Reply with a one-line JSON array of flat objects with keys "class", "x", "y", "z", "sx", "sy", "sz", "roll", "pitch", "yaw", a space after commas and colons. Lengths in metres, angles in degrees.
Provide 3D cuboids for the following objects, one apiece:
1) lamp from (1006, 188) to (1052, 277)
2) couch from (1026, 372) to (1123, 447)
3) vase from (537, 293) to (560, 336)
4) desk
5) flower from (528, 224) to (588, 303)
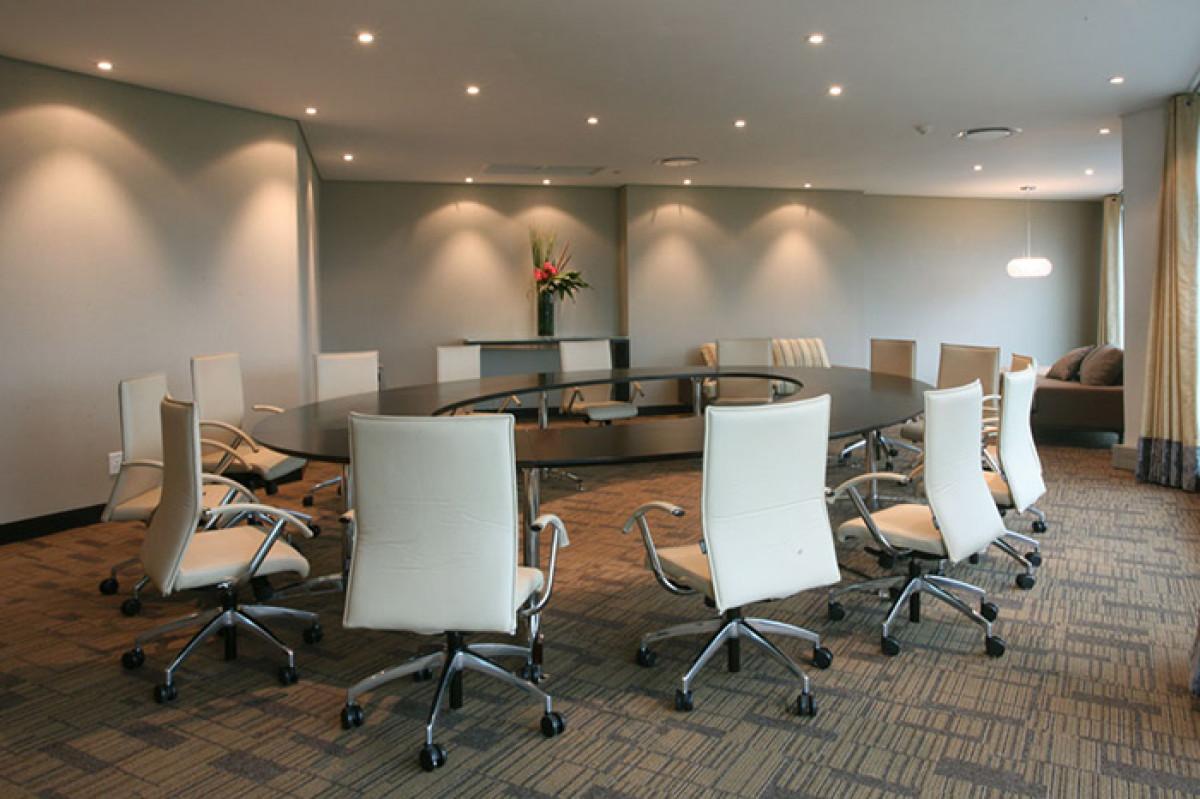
[{"class": "lamp", "x": 6.525, "y": -2.516, "z": 12.005, "sx": 0.603, "sy": 1.263, "sz": 1.514, "roll": 1, "pitch": 5, "yaw": 28}, {"class": "couch", "x": 5.267, "y": 0.128, "z": 8.740, "sx": 0.835, "sy": 0.640, "sz": 0.911, "roll": 1, "pitch": 5, "yaw": 27}, {"class": "vase", "x": -0.694, "y": -1.113, "z": 10.375, "sx": 0.250, "sy": 0.548, "sz": 0.481, "roll": -2, "pitch": 4, "yaw": -6}, {"class": "desk", "x": -0.548, "y": -0.386, "z": 10.918, "sx": 2.700, "sy": 1.215, "sz": 0.973, "roll": -1, "pitch": -3, "yaw": -22}, {"class": "flower", "x": -0.603, "y": -1.813, "z": 10.456, "sx": 0.883, "sy": 0.860, "sz": 0.897, "roll": 3, "pitch": 6, "yaw": 35}]
